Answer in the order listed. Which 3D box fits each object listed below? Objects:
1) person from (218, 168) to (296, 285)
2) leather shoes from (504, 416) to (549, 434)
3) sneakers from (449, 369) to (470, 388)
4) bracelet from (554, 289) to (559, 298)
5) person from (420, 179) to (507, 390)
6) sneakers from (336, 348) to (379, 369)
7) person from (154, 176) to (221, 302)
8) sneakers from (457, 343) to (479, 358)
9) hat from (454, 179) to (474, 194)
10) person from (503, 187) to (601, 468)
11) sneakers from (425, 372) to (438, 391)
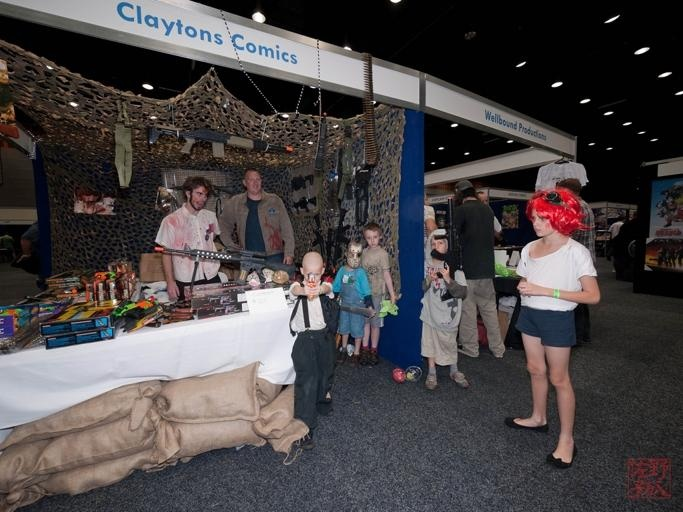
[{"bbox_3d":[-1.004,-0.437,5.268,0.826,1.081,0.509,-4,6,-14],"label":"person"},{"bbox_3d":[1.704,1.589,4.180,0.372,0.100,0.145,8,-3,18],"label":"leather shoes"},{"bbox_3d":[1.266,1.309,4.822,0.184,0.151,0.206,-2,5,1],"label":"sneakers"},{"bbox_3d":[1.787,0.318,3.757,0.020,0.060,0.060,7,-23,-24],"label":"bracelet"},{"bbox_3d":[1.306,0.261,4.995,0.572,2.200,1.204,2,7,38],"label":"person"},{"bbox_3d":[0.204,1.194,5.288,0.641,0.268,0.217,-3,7,9],"label":"sneakers"},{"bbox_3d":[-1.530,-0.160,4.527,0.595,1.282,0.865,-4,6,-15],"label":"person"},{"bbox_3d":[1.512,1.149,5.414,0.104,0.110,0.283,-8,18,-29],"label":"sneakers"},{"bbox_3d":[1.453,-0.839,5.355,0.184,0.170,0.217,-6,18,-14],"label":"hat"},{"bbox_3d":[1.831,0.613,3.938,0.676,2.378,0.412,0,6,21],"label":"person"},{"bbox_3d":[0.956,1.324,4.782,0.116,0.147,0.210,0,5,20],"label":"sneakers"}]
